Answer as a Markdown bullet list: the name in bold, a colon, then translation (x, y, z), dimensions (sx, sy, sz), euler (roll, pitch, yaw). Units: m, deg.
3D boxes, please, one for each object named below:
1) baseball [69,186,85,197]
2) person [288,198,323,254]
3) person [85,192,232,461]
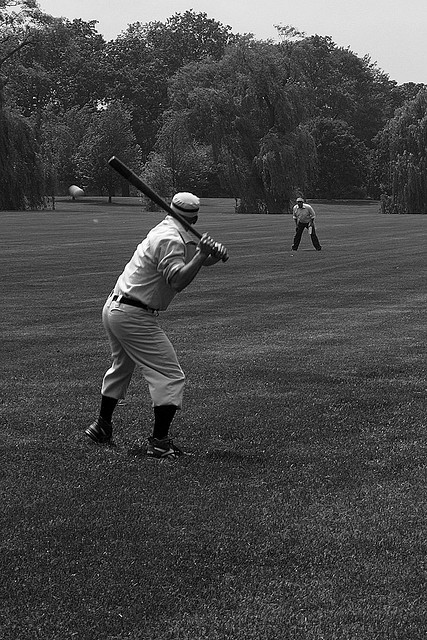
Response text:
- **baseball**: translation (-0.751, -0.704, 3.547), dimensions (0.061, 0.055, 0.059), euler (1, 9, -9)
- **person**: translation (2.959, -3.084, 21.143), dimensions (0.899, 1.946, 0.659), euler (-5, -22, 10)
- **person**: translation (-0.465, -0.015, 4.593), dimensions (0.883, 1.743, 1.727), euler (-1, 5, -9)
